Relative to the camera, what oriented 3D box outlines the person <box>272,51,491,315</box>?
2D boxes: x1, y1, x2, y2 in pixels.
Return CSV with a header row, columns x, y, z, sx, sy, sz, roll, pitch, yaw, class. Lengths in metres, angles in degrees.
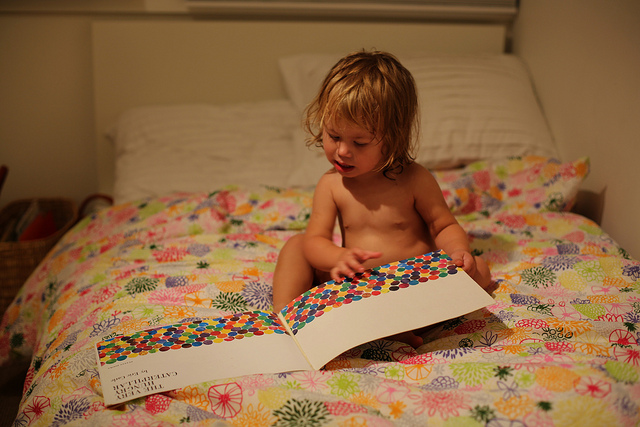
x,y,z,sx,sy,sz,roll,pitch,yaw,class
0.155,-0.055,1.374,0.565,0.756,0.464,1,18,12,person
